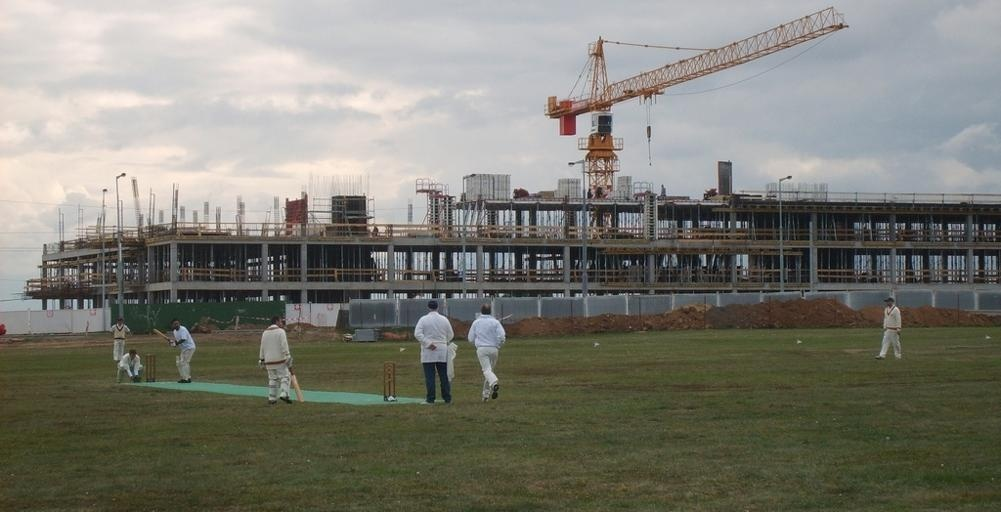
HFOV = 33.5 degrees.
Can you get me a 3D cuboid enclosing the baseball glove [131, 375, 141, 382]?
[{"bbox_3d":[-24.925,8.486,113.455,0.508,0.515,0.217,1,1,-13],"label":"baseball glove"}]
